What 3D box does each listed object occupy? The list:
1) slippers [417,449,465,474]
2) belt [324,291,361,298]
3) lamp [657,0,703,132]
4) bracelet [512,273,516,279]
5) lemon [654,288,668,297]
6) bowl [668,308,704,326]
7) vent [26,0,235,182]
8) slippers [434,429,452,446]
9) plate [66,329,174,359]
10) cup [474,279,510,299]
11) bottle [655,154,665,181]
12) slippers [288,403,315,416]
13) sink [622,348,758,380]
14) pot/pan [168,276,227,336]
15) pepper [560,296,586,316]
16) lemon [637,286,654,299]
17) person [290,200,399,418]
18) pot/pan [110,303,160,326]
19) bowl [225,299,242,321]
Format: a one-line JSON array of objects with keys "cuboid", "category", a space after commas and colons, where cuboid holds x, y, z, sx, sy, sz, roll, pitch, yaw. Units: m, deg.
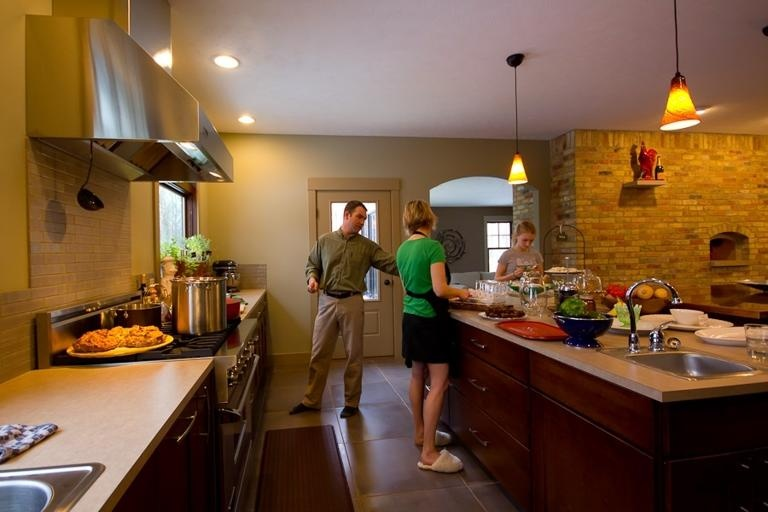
[{"cuboid": [0.381, 1.386, 3.688, 0.258, 0.105, 0.139, -2, -5, 9], "category": "slippers"}, {"cuboid": [-0.352, 0.314, 4.532, 0.301, 0.075, 0.106, -1, 10, -1], "category": "belt"}, {"cuboid": [2.167, -1.355, 3.954, 0.221, 0.865, 1.302, 4, 11, 27], "category": "lamp"}, {"cuboid": [1.109, 0.173, 4.674, 0.049, 0.056, 0.056, -1, -8, 5], "category": "bracelet"}, {"cuboid": [1.808, 0.237, 3.565, 0.064, 0.067, 0.066, 2, -5, -38], "category": "lemon"}, {"cuboid": [1.740, 0.351, 3.137, 0.135, 0.067, 0.137, 0, -7, 0], "category": "bowl"}, {"cuboid": [-1.423, -0.874, 3.511, 0.771, 0.556, 1.503, 1, 0, -8], "category": "vent"}, {"cuboid": [0.431, 1.341, 4.056, 0.146, 0.128, 0.088, -2, 2, -28], "category": "slippers"}, {"cuboid": [-1.429, 0.455, 2.936, 0.482, 0.093, 0.312, -9, 13, -36], "category": "plate"}, {"cuboid": [0.812, 0.254, 4.101, 0.233, 0.113, 0.264, -3, 10, -12], "category": "cup"}, {"cuboid": [3.229, -1.043, 6.388, 0.099, 0.274, 0.398, 4, 11, 26], "category": "bottle"}, {"cuboid": [-0.695, 1.300, 4.600, 0.242, 0.098, 0.082, 5, -6, -16], "category": "slippers"}, {"cuboid": [1.484, 0.532, 2.684, 0.204, 0.099, 0.250, 1, -1, -13], "category": "sink"}, {"cuboid": [-1.085, 0.276, 3.237, 0.329, 0.333, 0.336, -1, -1, 31], "category": "pot/pan"}, {"cuboid": [1.012, 0.272, 2.951, 0.096, 0.093, 0.106, 2, -7, 0], "category": "pepper"}, {"cuboid": [1.719, 0.233, 3.586, 0.082, 0.086, 0.084, 9, -29, -38], "category": "lemon"}, {"cuboid": [-0.366, 0.437, 4.575, 0.878, 1.767, 0.538, -3, 10, -11], "category": "person"}, {"cuboid": [-1.453, 0.331, 3.207, 0.220, 0.080, 0.133, -2, 0, -27], "category": "pot/pan"}, {"cuboid": [-1.028, 0.360, 3.672, 0.115, 0.088, 0.119, -1, -11, 0], "category": "bowl"}]
